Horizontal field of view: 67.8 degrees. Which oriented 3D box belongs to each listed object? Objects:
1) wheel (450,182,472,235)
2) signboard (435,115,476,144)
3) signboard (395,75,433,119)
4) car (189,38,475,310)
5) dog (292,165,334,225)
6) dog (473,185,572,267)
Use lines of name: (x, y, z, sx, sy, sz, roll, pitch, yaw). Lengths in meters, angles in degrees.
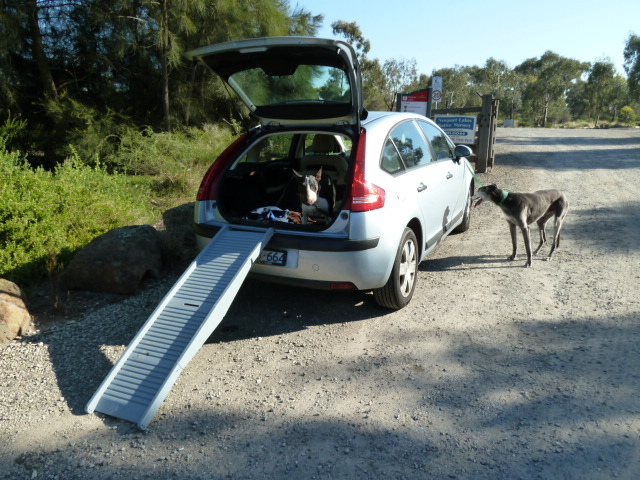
wheel: (2.123, -0.511, 7.268, 0.242, 0.845, 0.784, -1, 1, 16)
signboard: (3.847, -3.157, 13.584, 0.339, 0.768, 1.327, -10, 19, -27)
signboard: (2.684, -3.921, 13.556, 0.455, 0.799, 1.350, -11, 20, -31)
car: (0.591, -1.276, 7.090, 2.698, 3.033, 5.132, 5, 18, 25)
dog: (-0.021, -0.593, 6.359, 0.407, 0.836, 1.374, 1, 12, 12)
dog: (2.936, -0.231, 6.927, 1.436, 1.208, 0.573, -5, 13, -5)
